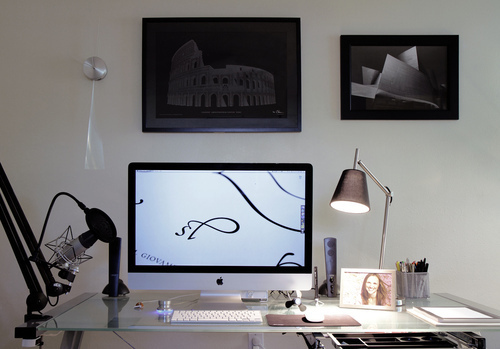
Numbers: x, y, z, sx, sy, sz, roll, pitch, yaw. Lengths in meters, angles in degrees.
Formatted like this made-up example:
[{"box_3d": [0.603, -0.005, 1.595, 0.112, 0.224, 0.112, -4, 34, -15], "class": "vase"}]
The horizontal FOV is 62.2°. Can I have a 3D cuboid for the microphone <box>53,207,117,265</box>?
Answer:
[{"box_3d": [-0.851, 0.318, 2.133, 0.307, 0.291, 0.057, 0, 3, -1], "class": "microphone"}]

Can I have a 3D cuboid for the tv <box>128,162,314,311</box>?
[{"box_3d": [-0.156, 0.295, 2.168, 0.669, 0.537, 0.186, 0, -8, 0], "class": "tv"}]

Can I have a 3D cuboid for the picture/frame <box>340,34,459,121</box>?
[{"box_3d": [0.890, -0.575, 2.488, 0.461, 0.356, 0.080, 0, -3, 0], "class": "picture/frame"}]
